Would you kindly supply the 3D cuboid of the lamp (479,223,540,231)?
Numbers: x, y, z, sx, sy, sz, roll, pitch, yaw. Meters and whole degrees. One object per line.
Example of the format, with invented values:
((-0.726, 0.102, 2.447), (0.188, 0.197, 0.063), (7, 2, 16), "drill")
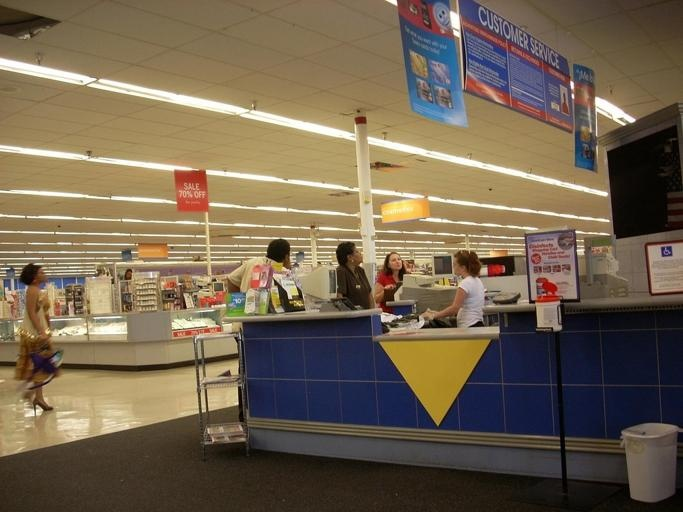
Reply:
((8.523, -1.472, 26.709), (4.532, 0.360, 1.322), (-2, -3, -41), "lamp")

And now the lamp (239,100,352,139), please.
((-0.736, -2.375, 9.397), (2.452, 0.148, 0.464), (-2, -3, -42), "lamp")

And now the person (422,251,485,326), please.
((1.191, 0.308, 4.942), (0.546, 0.696, 0.576), (-4, -2, -29), "person")

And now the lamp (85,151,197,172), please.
((-4.461, -1.939, 11.063), (2.144, 0.182, 0.640), (-2, -3, -40), "lamp")

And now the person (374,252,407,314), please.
((0.624, 0.352, 6.779), (0.399, 0.712, 0.997), (-6, -2, 6), "person")

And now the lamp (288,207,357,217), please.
((-0.673, -1.620, 19.391), (1.074, 0.224, 3.324), (-7, -3, 43), "lamp")

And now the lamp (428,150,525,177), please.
((3.452, -2.304, 13.020), (4.274, 0.165, 0.542), (-2, -3, -43), "lamp")

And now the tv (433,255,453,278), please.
((1.767, 0.174, 8.930), (0.450, 0.365, 0.150), (0, -3, -18), "tv")

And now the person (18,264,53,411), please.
((-4.337, 1.145, 7.153), (0.484, 2.112, 0.954), (-5, -2, -32), "person")

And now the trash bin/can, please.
((2.079, 1.336, 3.339), (0.406, 0.536, 0.211), (-5, -2, -3), "trash bin/can")

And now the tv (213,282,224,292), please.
((-3.022, 0.751, 12.499), (0.265, 0.179, 0.130), (-4, -2, -29), "tv")

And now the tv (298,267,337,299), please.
((-0.478, 0.412, 7.930), (0.932, 0.499, 0.868), (2, -2, -14), "tv")

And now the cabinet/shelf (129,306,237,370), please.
((-3.917, 1.873, 11.844), (1.035, 1.157, 2.545), (-4, -6, 4), "cabinet/shelf")

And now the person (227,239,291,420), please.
((-0.833, 0.789, 5.447), (0.695, 1.544, 0.998), (-5, -2, -11), "person")
